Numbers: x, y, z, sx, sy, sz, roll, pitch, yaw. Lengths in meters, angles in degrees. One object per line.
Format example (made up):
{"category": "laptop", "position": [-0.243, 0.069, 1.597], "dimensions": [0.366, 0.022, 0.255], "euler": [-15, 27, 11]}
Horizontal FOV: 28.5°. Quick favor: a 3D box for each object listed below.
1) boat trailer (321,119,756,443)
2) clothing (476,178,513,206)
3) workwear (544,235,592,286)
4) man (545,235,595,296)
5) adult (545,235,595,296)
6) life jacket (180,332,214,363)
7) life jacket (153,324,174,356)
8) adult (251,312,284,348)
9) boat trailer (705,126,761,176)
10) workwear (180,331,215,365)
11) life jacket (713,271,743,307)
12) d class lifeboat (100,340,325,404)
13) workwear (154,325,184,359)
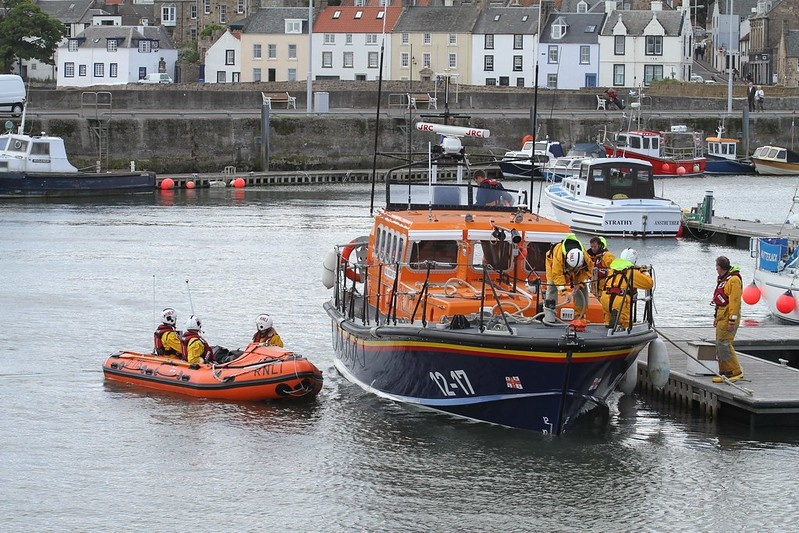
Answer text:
{"category": "boat trailer", "position": [1.340, 0.449, 34.868], "dimensions": [4.885, 5.031, 8.633], "euler": [-3, 7, -23]}
{"category": "clothing", "position": [2.028, -1.493, 34.121], "dimensions": [0.913, 0.781, 0.532], "euler": [-4, 2, -16]}
{"category": "workwear", "position": [3.386, -0.087, 32.113], "dimensions": [0.879, 1.051, 1.203], "euler": [-8, 18, -21]}
{"category": "man", "position": [3.426, -0.094, 32.135], "dimensions": [0.890, 1.075, 1.181], "euler": [-7, 20, -13]}
{"category": "adult", "position": [3.380, -0.106, 32.115], "dimensions": [0.911, 1.112, 1.218], "euler": [-9, 21, -20]}
{"category": "life jacket", "position": [-4.476, 1.795, 34.004], "dimensions": [0.324, 0.469, 0.500], "euler": [-12, 29, -15]}
{"category": "life jacket", "position": [-5.177, 1.629, 34.167], "dimensions": [0.435, 0.699, 0.531], "euler": [-6, 17, -20]}
{"category": "adult", "position": [-2.933, 1.515, 34.068], "dimensions": [0.866, 0.801, 0.510], "euler": [7, 5, 37]}
{"category": "boat trailer", "position": [14.168, -4.756, 68.466], "dimensions": [1.554, 1.355, 2.947], "euler": [1, -1, 17]}
{"category": "workwear", "position": [-4.494, 1.848, 34.231], "dimensions": [0.587, 0.892, 0.999], "euler": [-6, 14, -15]}
{"category": "life jacket", "position": [6.840, 0.507, 32.886], "dimensions": [0.435, 0.694, 0.724], "euler": [12, 8, 6]}
{"category": "d class lifeboat", "position": [-4.096, 2.304, 33.875], "dimensions": [3.575, 0.928, 1.708], "euler": [3, 5, 23]}
{"category": "workwear", "position": [-5.071, 1.681, 34.146], "dimensions": [0.440, 0.634, 0.563], "euler": [-11, 21, -28]}
